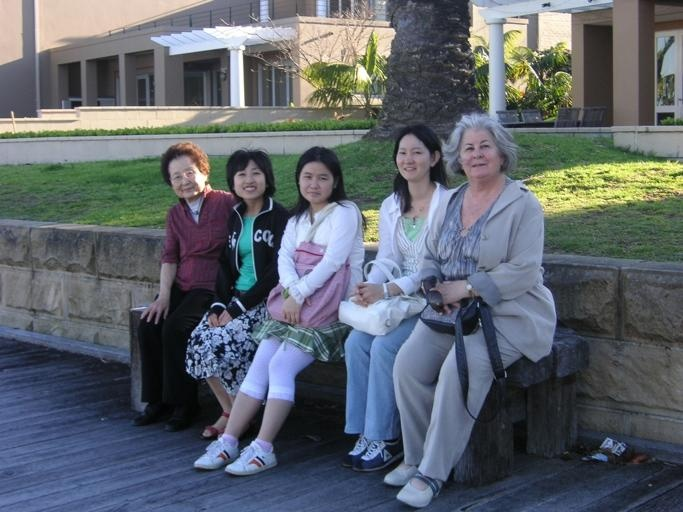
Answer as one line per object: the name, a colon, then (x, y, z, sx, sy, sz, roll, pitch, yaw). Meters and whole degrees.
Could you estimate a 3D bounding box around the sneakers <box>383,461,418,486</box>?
sneakers: (0.358, 1.262, 3.889, 0.244, 0.104, 0.086, -9, 8, -44)

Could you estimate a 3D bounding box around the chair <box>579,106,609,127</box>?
chair: (5.588, -3.021, 14.449, 0.430, 0.440, 0.666, -7, 11, -29)

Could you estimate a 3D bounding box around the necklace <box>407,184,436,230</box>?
necklace: (0.561, -0.348, 4.466, 0.198, 0.282, 0.104, 8, -13, 31)

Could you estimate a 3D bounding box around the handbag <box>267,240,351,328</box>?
handbag: (-0.178, 0.157, 4.380, 0.549, 0.308, 0.537, 3, -37, -26)

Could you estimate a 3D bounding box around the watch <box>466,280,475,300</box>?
watch: (0.753, 0.197, 3.819, 0.030, 0.081, 0.059, -2, -3, -32)

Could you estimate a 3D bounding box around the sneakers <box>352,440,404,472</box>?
sneakers: (0.225, 1.222, 4.130, 0.371, 0.161, 0.125, -8, 9, -38)

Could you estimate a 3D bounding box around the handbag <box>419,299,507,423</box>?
handbag: (0.755, 0.564, 3.739, 0.411, 0.718, 0.231, -6, -14, 14)

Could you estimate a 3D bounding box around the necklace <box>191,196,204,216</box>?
necklace: (-1.148, -0.379, 5.139, 0.105, 0.159, 0.080, -8, 2, -35)

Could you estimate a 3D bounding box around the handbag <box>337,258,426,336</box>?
handbag: (0.358, 0.289, 4.185, 0.619, 0.252, 0.724, -15, 12, 30)

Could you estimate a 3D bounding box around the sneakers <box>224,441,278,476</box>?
sneakers: (-0.552, 1.229, 4.127, 0.351, 0.183, 0.139, -6, 10, -32)

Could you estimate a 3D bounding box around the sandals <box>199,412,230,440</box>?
sandals: (-0.882, 1.169, 4.611, 0.109, 0.076, 0.295, 2, 7, 27)

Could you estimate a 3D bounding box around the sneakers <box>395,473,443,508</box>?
sneakers: (0.461, 1.278, 3.687, 0.150, 0.146, 0.308, 8, 13, 44)

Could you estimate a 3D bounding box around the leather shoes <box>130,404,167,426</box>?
leather shoes: (-1.423, 1.160, 4.891, 0.270, 0.200, 0.090, 10, 4, -45)

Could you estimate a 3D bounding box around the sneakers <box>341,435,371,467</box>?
sneakers: (0.076, 1.212, 4.119, 0.090, 0.130, 0.285, 8, 24, 39)

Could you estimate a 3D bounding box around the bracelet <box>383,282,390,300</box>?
bracelet: (0.290, 0.227, 4.241, 0.027, 0.076, 0.052, 8, -8, -4)
